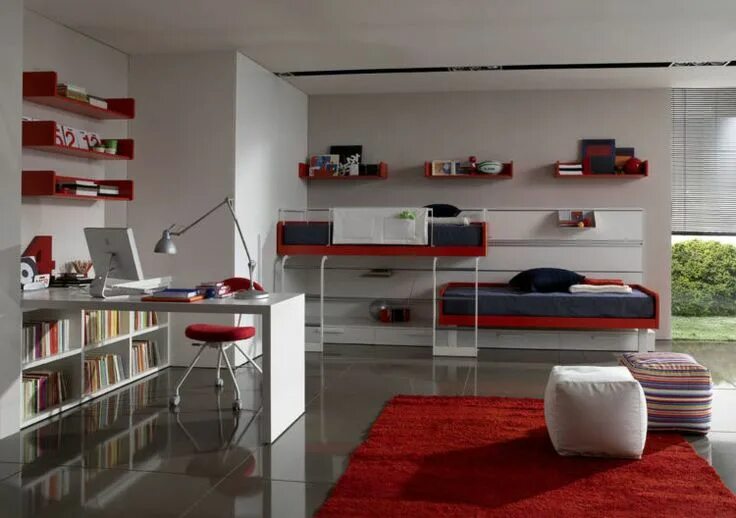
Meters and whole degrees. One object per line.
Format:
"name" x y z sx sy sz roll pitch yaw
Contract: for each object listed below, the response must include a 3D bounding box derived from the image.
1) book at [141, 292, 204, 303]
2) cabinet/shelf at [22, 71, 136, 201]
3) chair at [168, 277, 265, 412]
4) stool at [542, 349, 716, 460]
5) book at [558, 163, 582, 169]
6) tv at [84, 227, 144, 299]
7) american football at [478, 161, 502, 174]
"book" -1.557 0.309 4.763 0.472 0.055 0.184 -1 7 -5
"cabinet/shelf" -2.768 -1.147 5.703 0.479 1.222 1.552 0 1 14
"chair" -1.304 0.736 5.442 0.713 0.993 0.792 1 0 8
"stool" 1.751 1.041 4.423 0.917 0.345 0.790 0 -4 -7
"book" 2.622 -1.195 7.841 0.280 0.086 0.107 1 8 12
"tv" -2.155 0.050 5.077 0.684 0.677 0.379 2 3 29
"american football" 1.617 -1.192 7.932 0.367 0.182 0.234 -1 8 -7
